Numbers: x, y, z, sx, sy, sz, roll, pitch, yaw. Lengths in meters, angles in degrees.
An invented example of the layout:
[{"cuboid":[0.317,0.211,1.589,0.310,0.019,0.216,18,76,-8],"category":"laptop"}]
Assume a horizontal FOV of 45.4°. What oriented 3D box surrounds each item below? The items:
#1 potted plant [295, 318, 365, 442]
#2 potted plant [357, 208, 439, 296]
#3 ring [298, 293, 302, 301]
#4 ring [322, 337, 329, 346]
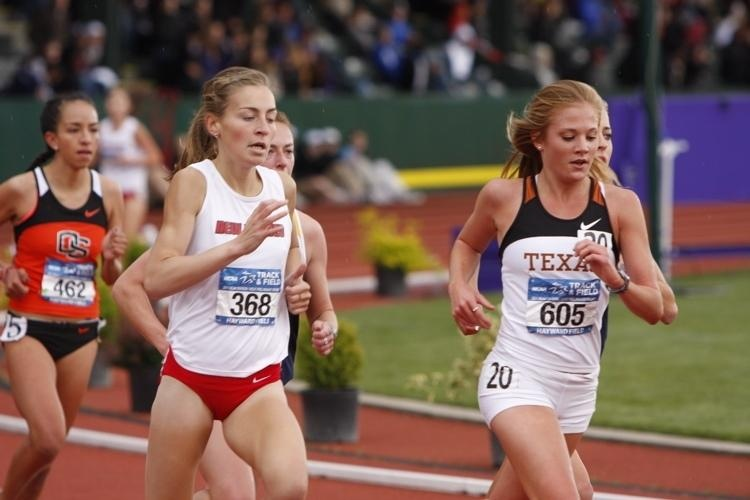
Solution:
[{"cuboid":[-0.433,1.154,8.241,0.679,1.168,0.690,2,-12,-19],"category":"potted plant"},{"cuboid":[0.320,0.080,13.405,1.047,1.221,0.494,0,12,2],"category":"potted plant"},{"cuboid":[-0.438,0.278,5.190,0.024,0.034,0.010,6,3,3],"category":"ring"},{"cuboid":[-0.299,0.545,5.354,0.029,0.031,0.045,29,4,2],"category":"ring"}]
